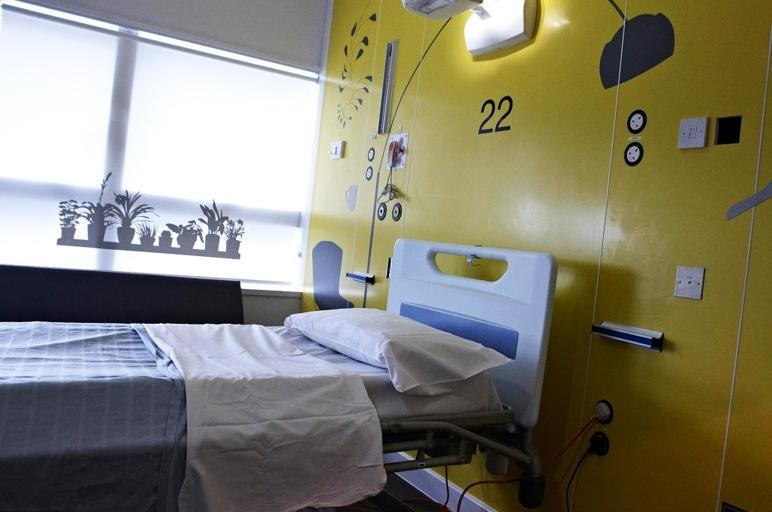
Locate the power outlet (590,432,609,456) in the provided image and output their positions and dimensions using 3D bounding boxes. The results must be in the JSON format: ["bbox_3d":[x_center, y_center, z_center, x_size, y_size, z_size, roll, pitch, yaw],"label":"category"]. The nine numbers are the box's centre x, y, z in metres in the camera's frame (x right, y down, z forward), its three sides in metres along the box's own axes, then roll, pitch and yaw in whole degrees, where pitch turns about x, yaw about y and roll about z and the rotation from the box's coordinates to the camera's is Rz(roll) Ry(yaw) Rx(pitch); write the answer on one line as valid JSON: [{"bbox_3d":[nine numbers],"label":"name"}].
[{"bbox_3d":[1.056,0.938,2.552,0.024,0.104,0.104,11,-32,-25],"label":"power outlet"}]

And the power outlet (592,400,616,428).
[{"bbox_3d":[1.073,0.778,2.546,0.029,0.108,0.109,15,-45,-34],"label":"power outlet"}]
